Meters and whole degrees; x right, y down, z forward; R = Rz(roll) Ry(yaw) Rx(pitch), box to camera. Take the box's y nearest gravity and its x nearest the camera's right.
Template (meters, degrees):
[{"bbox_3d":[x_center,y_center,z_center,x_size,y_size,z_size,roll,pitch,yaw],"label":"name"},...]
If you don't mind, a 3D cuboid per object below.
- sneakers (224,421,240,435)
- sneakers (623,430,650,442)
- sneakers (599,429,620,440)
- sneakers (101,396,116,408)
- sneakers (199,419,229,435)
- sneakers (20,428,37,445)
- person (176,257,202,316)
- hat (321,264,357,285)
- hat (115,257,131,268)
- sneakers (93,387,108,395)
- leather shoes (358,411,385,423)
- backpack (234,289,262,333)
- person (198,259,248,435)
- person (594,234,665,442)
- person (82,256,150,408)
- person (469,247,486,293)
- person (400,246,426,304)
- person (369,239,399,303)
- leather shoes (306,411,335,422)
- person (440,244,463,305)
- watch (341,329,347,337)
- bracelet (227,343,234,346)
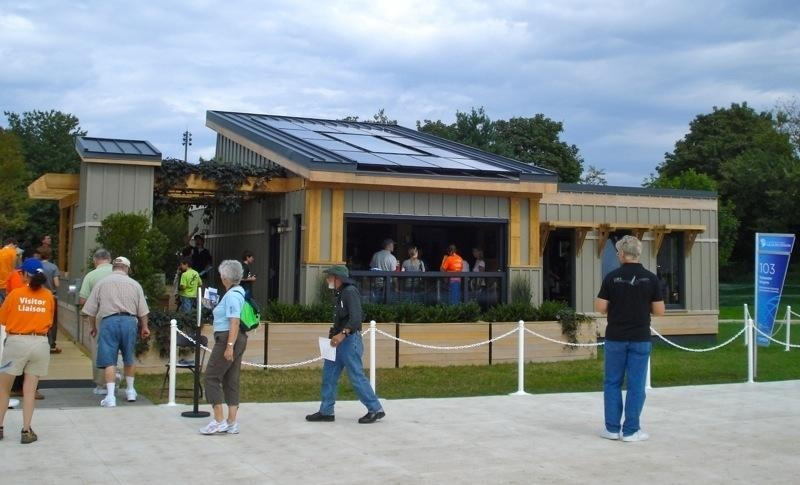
[{"bbox_3d":[-2.979,3.266,15.700,0.259,0.254,0.601,0,0,-12],"label":"sneakers"},{"bbox_3d":[4.166,3.387,15.643,0.495,0.191,0.172,-3,1,-19],"label":"sneakers"},{"bbox_3d":[3.753,3.383,15.684,0.126,0.132,0.327,0,3,-19],"label":"sneakers"},{"bbox_3d":[-5.635,3.037,17.187,0.274,0.195,0.403,-1,0,-20],"label":"sneakers"},{"bbox_3d":[-3.266,3.256,15.711,0.553,0.244,0.205,0,-2,-13],"label":"sneakers"},{"bbox_3d":[-6.273,3.274,15.087,0.154,0.145,0.330,1,0,8],"label":"sneakers"},{"bbox_3d":[-5.400,1.035,22.784,0.565,1.342,1.119,-1,0,-15],"label":"person"},{"bbox_3d":[-1.112,0.539,16.411,0.491,0.196,0.353,22,1,9],"label":"hat"},{"bbox_3d":[-5.572,0.350,17.846,0.333,0.225,0.451,7,2,-5],"label":"hat"},{"bbox_3d":[-6.156,3.042,18.297,0.332,0.133,0.112,-6,-11,37],"label":"sneakers"},{"bbox_3d":[-0.503,3.216,16.487,0.530,0.204,0.185,3,-3,-25],"label":"leather shoes"},{"bbox_3d":[-2.647,1.175,15.911,0.424,0.677,0.531,-3,6,-3],"label":"backpack"},{"bbox_3d":[-3.063,1.819,15.605,0.734,2.928,0.461,-1,0,-11],"label":"person"},{"bbox_3d":[4.057,1.659,15.644,1.041,3.643,0.469,-1,0,14],"label":"person"},{"bbox_3d":[-5.563,1.709,17.486,1.132,2.742,0.797,-1,0,-30],"label":"person"},{"bbox_3d":[2.195,0.752,24.337,0.395,1.232,1.269,-1,0,6],"label":"person"},{"bbox_3d":[0.373,0.814,23.310,0.602,1.421,0.593,-1,0,0],"label":"person"},{"bbox_3d":[-0.355,0.809,23.334,0.779,1.873,0.621,15,24,26],"label":"person"},{"bbox_3d":[-1.473,3.227,16.543,0.465,0.178,0.196,4,-7,-6],"label":"leather shoes"},{"bbox_3d":[1.452,0.819,23.633,0.626,1.513,0.599,-1,0,3],"label":"person"},{"bbox_3d":[-1.004,1.631,16.179,0.081,0.114,0.117,-2,45,-15],"label":"watch"},{"bbox_3d":[-2.929,1.750,15.437,0.115,0.068,0.070,-1,0,-22],"label":"bracelet"}]
